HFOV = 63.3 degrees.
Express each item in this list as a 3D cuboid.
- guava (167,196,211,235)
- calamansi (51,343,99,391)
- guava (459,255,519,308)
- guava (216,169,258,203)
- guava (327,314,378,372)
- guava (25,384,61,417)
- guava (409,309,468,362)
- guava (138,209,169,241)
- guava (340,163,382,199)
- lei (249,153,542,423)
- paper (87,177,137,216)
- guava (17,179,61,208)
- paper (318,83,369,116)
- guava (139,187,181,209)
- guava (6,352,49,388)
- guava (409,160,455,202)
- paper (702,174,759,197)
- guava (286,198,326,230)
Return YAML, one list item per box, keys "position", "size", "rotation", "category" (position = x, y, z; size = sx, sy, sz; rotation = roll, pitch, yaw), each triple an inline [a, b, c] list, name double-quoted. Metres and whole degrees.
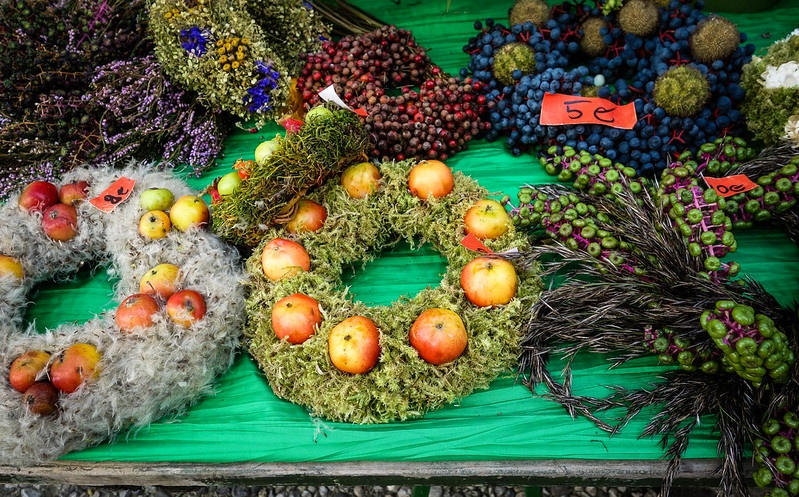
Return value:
- position: [-1.026, -0.195, 3.235]
  size: [0.192, 0.182, 0.145]
  rotation: [-3, 56, 1]
  category: "guava"
- position: [-1.427, 0.527, 2.849]
  size: [0.184, 0.120, 0.208]
  rotation: [4, 27, 2]
  category: "calamansi"
- position: [0.402, 0.145, 2.898]
  size: [0.238, 0.200, 0.227]
  rotation: [3, 20, 7]
  category: "guava"
- position: [-0.801, -0.306, 3.151]
  size: [0.161, 0.121, 0.117]
  rotation: [-20, 58, 15]
  category: "guava"
- position: [-0.197, 0.420, 2.830]
  size: [0.231, 0.101, 0.244]
  rotation: [-2, 74, 8]
  category: "guava"
- position: [-1.618, 0.676, 2.873]
  size: [0.166, 0.192, 0.155]
  rotation: [6, 79, -28]
  category: "guava"
- position: [0.170, 0.380, 2.829]
  size: [0.238, 0.113, 0.239]
  rotation: [-34, 72, -2]
  category: "guava"
- position: [-1.181, -0.112, 3.163]
  size: [0.146, 0.138, 0.132]
  rotation: [-10, 69, -19]
  category: "guava"
- position: [-0.191, -0.330, 3.251]
  size: [0.175, 0.168, 0.174]
  rotation: [1, 34, 20]
  category: "guava"
- position: [-0.079, 0.096, 3.388]
  size: [1.266, 1.942, 1.171]
  rotation: [2, 94, 2]
  category: "lei"
- position: [-1.439, -0.273, 3.271]
  size: [0.135, 0.050, 0.224]
  rotation: [38, 76, 18]
  category: "paper"
- position: [-1.828, -0.264, 3.285]
  size: [0.181, 0.129, 0.127]
  rotation: [-9, 30, -27]
  category: "guava"
- position: [-0.261, -0.742, 3.206]
  size: [0.221, 0.284, 0.091]
  rotation: [-2, 83, -19]
  category: "paper"
- position: [-1.193, -0.240, 3.211]
  size: [0.125, 0.118, 0.123]
  rotation: [17, 30, 14]
  category: "guava"
- position: [-1.654, 0.541, 2.881]
  size: [0.132, 0.048, 0.189]
  rotation: [18, 77, 13]
  category: "guava"
- position: [0.125, -0.345, 3.212]
  size: [0.206, 0.203, 0.174]
  rotation: [-10, 84, 14]
  category: "guava"
- position: [1.504, -0.288, 2.947]
  size: [0.184, 0.035, 0.114]
  rotation: [-12, 66, -2]
  category: "paper"
- position: [-0.439, -0.151, 3.182]
  size: [0.166, 0.150, 0.177]
  rotation: [-13, 91, -39]
  category: "guava"
